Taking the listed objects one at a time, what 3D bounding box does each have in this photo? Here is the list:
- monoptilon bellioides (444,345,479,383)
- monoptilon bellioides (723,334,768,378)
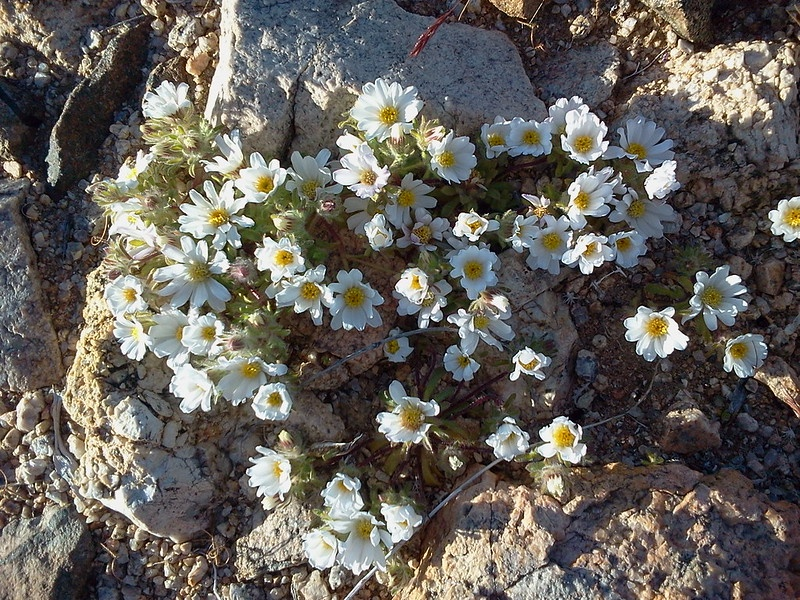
[{"bbox_3d":[0.454,0.485,6.050,0.272,0.150,0.201,35,86,5],"label":"monoptilon bellioides"},{"bbox_3d":[2.535,0.398,5.815,0.319,0.134,0.308,5,84,2],"label":"monoptilon bellioides"}]
